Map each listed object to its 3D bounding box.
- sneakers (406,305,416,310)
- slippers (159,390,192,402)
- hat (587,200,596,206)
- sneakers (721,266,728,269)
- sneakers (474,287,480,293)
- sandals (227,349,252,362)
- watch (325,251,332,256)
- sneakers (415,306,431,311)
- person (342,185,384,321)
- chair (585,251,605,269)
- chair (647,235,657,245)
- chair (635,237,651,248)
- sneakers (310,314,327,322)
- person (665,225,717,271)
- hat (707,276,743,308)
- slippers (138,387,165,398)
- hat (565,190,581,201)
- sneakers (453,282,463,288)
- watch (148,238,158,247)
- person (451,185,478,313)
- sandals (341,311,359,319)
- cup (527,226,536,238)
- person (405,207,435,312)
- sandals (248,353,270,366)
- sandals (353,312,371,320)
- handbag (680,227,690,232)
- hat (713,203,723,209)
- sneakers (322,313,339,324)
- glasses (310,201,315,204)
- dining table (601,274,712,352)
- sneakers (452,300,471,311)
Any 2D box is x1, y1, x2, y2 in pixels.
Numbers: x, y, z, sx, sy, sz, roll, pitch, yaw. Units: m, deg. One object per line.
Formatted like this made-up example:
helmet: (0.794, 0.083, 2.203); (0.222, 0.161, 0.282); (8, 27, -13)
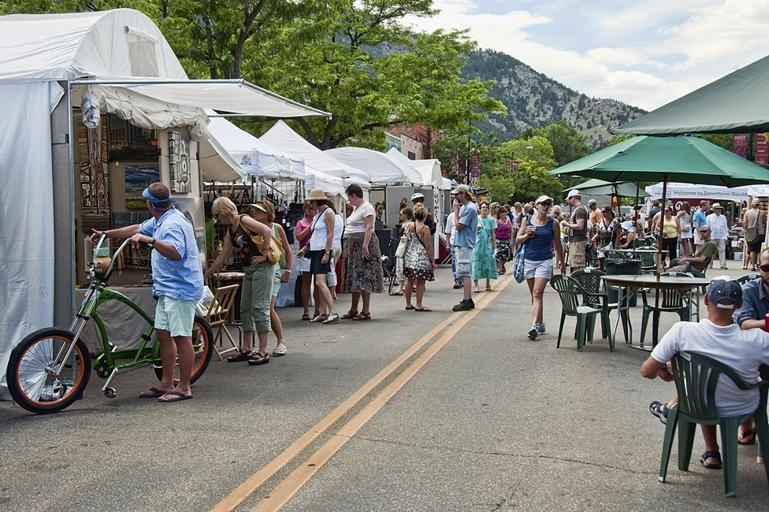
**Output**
sneakers: (0.538, 1.115, 14.509); (0.196, 0.078, 0.078); (-1, 4, -23)
slippers: (-2.428, 1.640, 7.862); (0.268, 0.069, 0.131); (4, -4, -33)
hat: (6.198, -1.582, 20.410); (0.192, 0.148, 0.284); (-6, 7, -28)
sneakers: (12.393, 0.449, 24.871); (0.177, 0.140, 0.313); (-3, -1, -9)
sneakers: (2.377, 0.893, 17.700); (0.121, 0.100, 0.340); (-2, -3, 3)
sandals: (-2.023, 1.433, 9.720); (0.457, 0.182, 0.163); (2, -3, -3)
watch: (-1.049, -0.041, 12.504); (0.022, 0.089, 0.090); (-5, 2, 39)
sneakers: (0.784, 1.126, 14.199); (0.229, 0.080, 0.128); (-2, 0, 22)
person: (-0.456, -0.069, 13.261); (0.759, 2.643, 0.875); (0, 6, -3)
chair: (5.645, 0.104, 18.289); (0.456, 0.670, 0.541); (-1, -5, 18)
chair: (8.211, -0.472, 20.979); (0.218, 0.272, 0.242); (7, 24, 7)
chair: (7.724, -0.393, 20.386); (0.488, 0.317, 0.376); (6, 1, 20)
sneakers: (-1.260, 1.210, 12.994); (0.334, 0.139, 0.113); (-1, 0, 5)
person: (7.138, -0.095, 16.124); (1.322, 1.054, 0.656); (-6, 6, 3)
hat: (2.869, 0.290, 5.719); (0.227, 0.339, 0.183); (1, 2, 27)
slippers: (-2.751, 1.610, 8.004); (0.280, 0.081, 0.128); (2, -1, -13)
hat: (4.684, -1.514, 17.005); (0.338, 0.202, 0.258); (7, 6, 29)
sneakers: (1.949, 0.801, 18.250); (0.172, 0.197, 0.465); (-2, -5, 10)
watch: (-2.606, -0.153, 7.605); (0.094, 0.090, 0.084); (0, 0, -13)
person: (1.702, -0.199, 14.576); (0.477, 2.608, 1.371); (1, 6, 7)
sandals: (-0.689, 1.181, 13.444); (0.370, 0.145, 0.138); (3, -1, -4)
cup: (2.424, -0.391, 11.284); (0.069, 0.170, 0.135); (4, 0, 16)
person: (0.699, 0.029, 14.414); (0.596, 2.240, 0.830); (-1, 6, -10)
sandals: (-1.778, 1.461, 9.565); (0.117, 0.126, 0.319); (-2, -9, 20)
sandals: (-0.458, 1.197, 13.365); (0.316, 0.124, 0.123); (4, 1, 6)
handbag: (10.096, -0.910, 22.943); (0.220, 0.110, 0.274); (-4, -8, 27)
hat: (12.028, -1.818, 24.770); (0.391, 0.115, 0.391); (-1, -3, -3)
sneakers: (-1.022, 1.196, 12.897); (0.352, 0.139, 0.131); (-3, 0, -36)
glasses: (-1.352, -0.985, 12.558); (0.065, 0.048, 0.065); (-1, -2, 2)
dining table: (4.083, 0.836, 10.241); (1.303, 0.884, 1.298); (1, 1, 0)
sneakers: (1.608, 1.048, 14.199); (0.412, 0.236, 0.169); (1, 3, 0)
